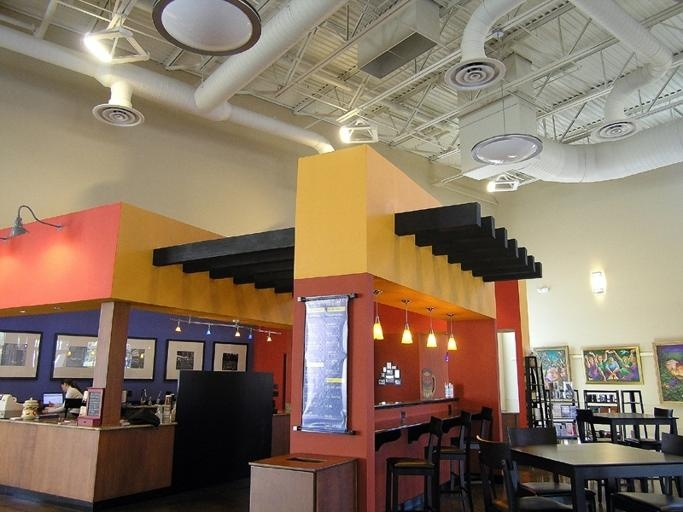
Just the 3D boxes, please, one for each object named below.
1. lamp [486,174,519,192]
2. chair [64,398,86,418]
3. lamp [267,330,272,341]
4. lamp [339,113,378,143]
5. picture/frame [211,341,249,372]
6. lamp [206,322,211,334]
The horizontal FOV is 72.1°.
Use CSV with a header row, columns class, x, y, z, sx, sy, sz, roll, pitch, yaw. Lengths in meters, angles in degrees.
class,x,y,z,sx,sy,sz,roll,pitch,yaw
lamp,4.793,-2.270,13.919,0.972,0.469,0.781,-5,-7,33
chair,-4.713,2.656,8.234,0.258,0.287,0.975,7,-17,-29
lamp,-1.861,2.077,12.186,0.101,0.262,0.378,1,-15,-10
lamp,0.435,-3.187,11.847,0.930,0.570,0.934,-1,-6,14
picture/frame,-2.965,2.640,12.328,1.085,1.015,0.075,10,-22,-39
lamp,-3.443,1.875,12.219,0.144,0.339,0.519,3,-15,-16
